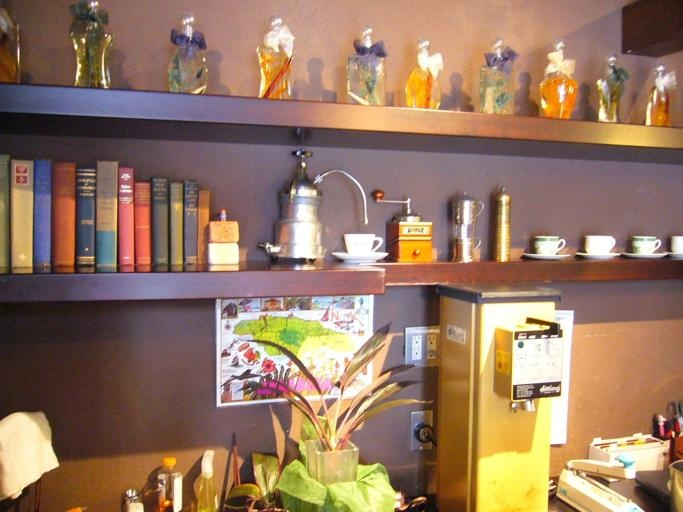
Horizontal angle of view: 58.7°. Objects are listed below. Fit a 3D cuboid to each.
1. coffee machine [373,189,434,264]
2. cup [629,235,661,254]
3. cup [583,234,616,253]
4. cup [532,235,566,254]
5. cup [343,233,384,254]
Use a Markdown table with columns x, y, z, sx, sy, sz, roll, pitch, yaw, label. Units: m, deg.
| x | y | z | sx | sy | sz | roll | pitch | yaw | label |
| --- | --- | --- | --- | --- | --- | --- | --- | --- | --- |
| 0.160 | -0.094 | 2.170 | 0.162 | 0.318 | 0.291 | 0 | -1 | -23 | coffee machine |
| 1.177 | -0.042 | 2.366 | 0.104 | 0.083 | 0.085 | 3 | -2 | 24 | cup |
| 0.977 | -0.042 | 2.310 | 0.092 | 0.073 | 0.075 | 2 | 0 | 24 | cup |
| 0.789 | -0.034 | 2.297 | 0.098 | 0.078 | 0.083 | 7 | -1 | 20 | cup |
| 0.082 | -0.041 | 2.175 | 0.105 | 0.058 | 0.078 | 3 | -1 | -10 | cup |
